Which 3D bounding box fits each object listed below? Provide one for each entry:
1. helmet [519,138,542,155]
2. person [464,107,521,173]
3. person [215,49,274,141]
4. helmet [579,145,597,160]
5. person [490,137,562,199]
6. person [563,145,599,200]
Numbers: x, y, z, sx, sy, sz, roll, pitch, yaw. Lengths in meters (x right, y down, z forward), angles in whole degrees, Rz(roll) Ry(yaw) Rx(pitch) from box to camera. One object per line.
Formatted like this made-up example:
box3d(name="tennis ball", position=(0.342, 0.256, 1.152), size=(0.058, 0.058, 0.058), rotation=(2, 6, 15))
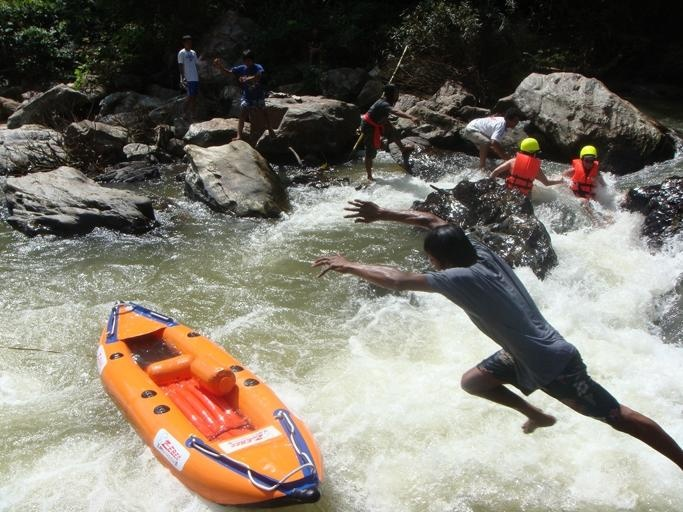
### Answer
box3d(name="helmet", position=(3.654, -2.129, 11.661), size=(0.308, 0.341, 0.583), rotation=(12, 34, 12))
box3d(name="person", position=(3.477, -2.761, 13.989), size=(1.194, 1.462, 0.971), rotation=(13, 32, 12))
box3d(name="person", position=(-2.316, -3.942, 14.987), size=(1.175, 2.370, 1.155), rotation=(-8, 37, -16))
box3d(name="helmet", position=(4.758, -1.996, 11.528), size=(0.266, 0.209, 0.214), rotation=(4, 34, 2))
box3d(name="person", position=(3.622, -1.642, 11.561), size=(1.126, 1.063, 0.999), rotation=(-7, 36, -15))
box3d(name="person", position=(4.814, -1.659, 11.661), size=(0.548, 0.917, 0.825), rotation=(-3, 35, -9))
